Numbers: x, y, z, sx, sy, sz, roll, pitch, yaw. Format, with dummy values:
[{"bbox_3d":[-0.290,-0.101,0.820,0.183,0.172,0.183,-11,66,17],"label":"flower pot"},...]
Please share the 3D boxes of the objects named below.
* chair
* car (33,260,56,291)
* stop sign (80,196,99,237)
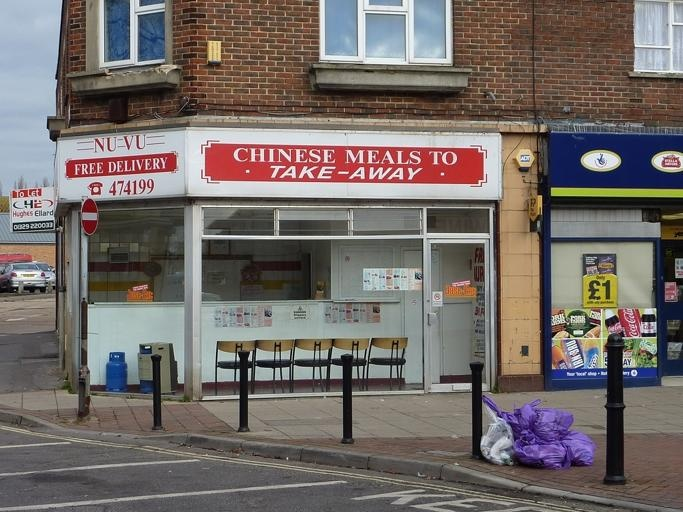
[{"bbox_3d":[-0.507,1.946,21.319,3.430,0.979,0.438,-1,5,-11],"label":"chair"},{"bbox_3d":[-13.689,0.996,55.305,1.288,0.934,2.778,0,3,-6],"label":"car"},{"bbox_3d":[-4.218,-0.681,20.090,0.095,0.749,0.650,-2,-5,24],"label":"stop sign"}]
